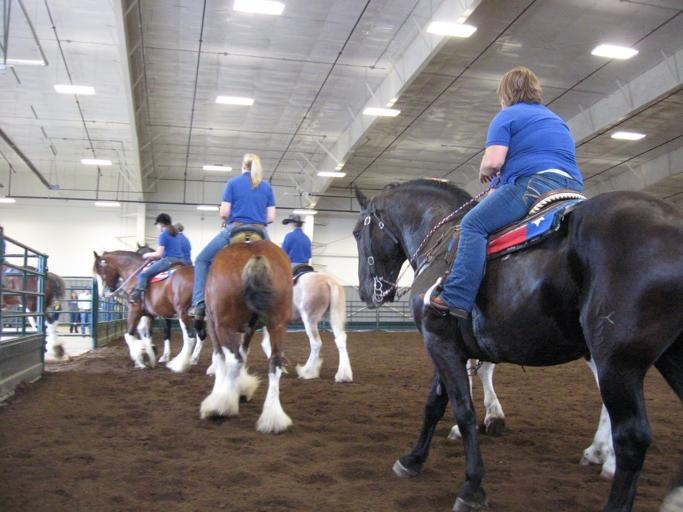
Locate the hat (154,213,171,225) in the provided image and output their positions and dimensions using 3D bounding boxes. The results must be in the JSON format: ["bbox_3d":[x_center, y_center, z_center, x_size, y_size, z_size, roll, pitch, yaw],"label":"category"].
[{"bbox_3d":[-3.426,-0.701,9.863,0.374,0.289,0.482,-2,7,-24],"label":"hat"}]

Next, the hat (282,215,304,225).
[{"bbox_3d":[-0.875,-0.691,9.276,0.336,0.148,0.216,7,-12,-12],"label":"hat"}]

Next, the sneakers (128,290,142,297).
[{"bbox_3d":[-3.710,0.661,9.227,0.192,0.062,0.129,9,0,2],"label":"sneakers"}]

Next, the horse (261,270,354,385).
[{"bbox_3d":[-0.881,1.114,9.171,0.811,2.105,2.911,8,-13,-38],"label":"horse"}]

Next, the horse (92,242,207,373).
[{"bbox_3d":[-3.480,0.888,9.363,0.864,2.255,3.735,0,-4,-37],"label":"horse"}]

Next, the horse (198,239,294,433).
[{"bbox_3d":[-1.292,0.760,6.366,0.856,2.251,3.283,2,-5,-18],"label":"horse"}]

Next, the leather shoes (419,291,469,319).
[{"bbox_3d":[0.666,0.341,3.488,0.358,0.161,0.132,18,-1,29],"label":"leather shoes"}]
